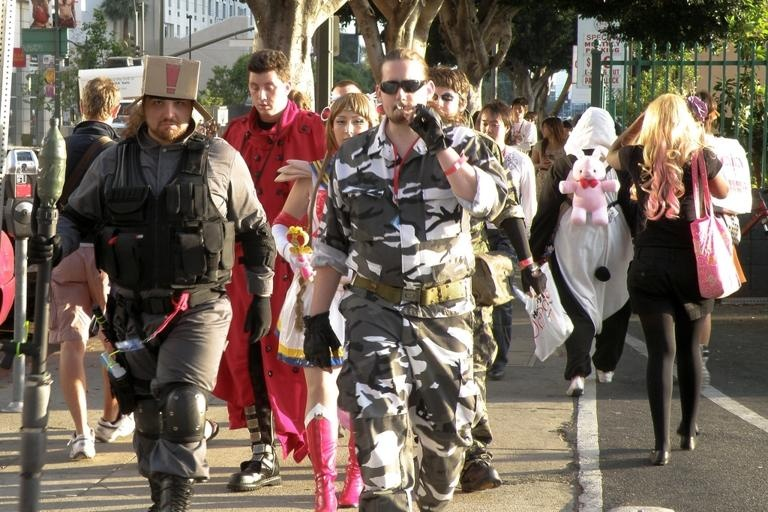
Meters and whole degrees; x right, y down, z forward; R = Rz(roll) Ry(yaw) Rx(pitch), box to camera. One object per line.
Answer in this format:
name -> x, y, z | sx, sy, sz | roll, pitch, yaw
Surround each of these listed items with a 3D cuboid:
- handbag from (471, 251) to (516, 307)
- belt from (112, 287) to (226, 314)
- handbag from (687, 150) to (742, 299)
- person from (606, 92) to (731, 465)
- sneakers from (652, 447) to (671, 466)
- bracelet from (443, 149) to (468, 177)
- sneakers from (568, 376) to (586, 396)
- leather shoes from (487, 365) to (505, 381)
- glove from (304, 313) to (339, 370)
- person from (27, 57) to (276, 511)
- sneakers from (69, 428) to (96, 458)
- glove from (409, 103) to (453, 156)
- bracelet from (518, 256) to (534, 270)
handbag -> 0.805, 0.154, 7.912 | 0.238, 0.408, 0.403 | -9, 2, 37
belt -> -1.486, 0.289, 7.168 | 0.374, 0.156, 0.295 | -2, 0, 40
handbag -> 2.571, -0.219, 8.378 | 0.374, 1.154, 0.282 | -6, 10, -35
person -> 2.243, 0.143, 8.631 | 0.628, 2.835, 0.676 | -4, 9, -29
sneakers -> 2.178, 1.559, 8.432 | 0.167, 0.120, 0.082 | -3, 9, -18
bracelet -> 0.431, -0.553, 6.512 | 0.113, 0.034, 0.122 | -41, -4, 36
sneakers -> 1.799, 1.214, 10.140 | 0.155, 0.185, 0.184 | 2, 9, 9
leather shoes -> 1.113, 1.163, 10.672 | 0.126, 0.144, 0.133 | -3, 6, -17
glove -> -0.387, 0.536, 6.816 | 0.277, 0.315, 0.130 | -2, 1, 14
person -> -1.418, 0.129, 7.154 | 1.353, 2.841, 0.846 | -1, 8, -8
sneakers -> -2.392, 1.490, 8.540 | 0.118, 0.161, 0.340 | -1, 1, -8
glove -> 0.295, -0.773, 6.538 | 0.184, 0.313, 0.131 | -35, 0, 39
bracelet -> 1.023, 0.051, 7.732 | 0.075, 0.075, 0.095 | -6, -3, -9
